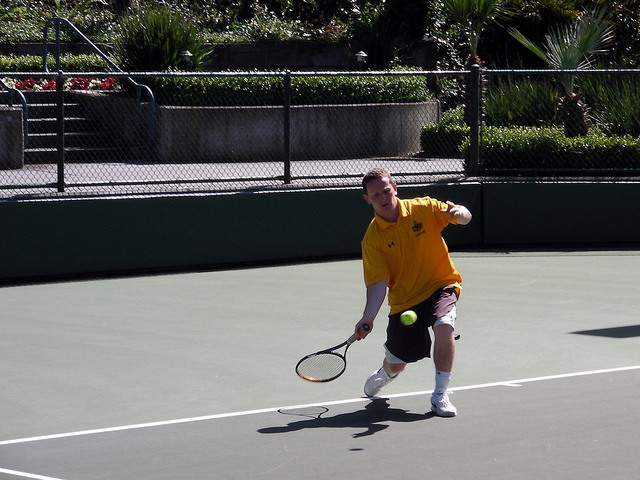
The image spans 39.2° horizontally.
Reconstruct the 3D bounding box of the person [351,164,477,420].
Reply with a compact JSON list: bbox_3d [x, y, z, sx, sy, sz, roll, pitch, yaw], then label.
[{"bbox_3d":[0.839,0.440,8.071,0.977,2.141,0.877,1,12,9],"label":"person"}]

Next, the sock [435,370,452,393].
[{"bbox_3d":[1.060,1.240,7.850,0.145,0.249,0.163,2,-6,-7],"label":"sock"}]

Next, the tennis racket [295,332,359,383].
[{"bbox_3d":[0.058,1.019,8.061,0.548,0.552,0.677,-1,12,-2],"label":"tennis racket"}]

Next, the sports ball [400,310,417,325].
[{"bbox_3d":[0.779,0.685,7.930,0.151,0.135,0.355,0,12,5],"label":"sports ball"}]
